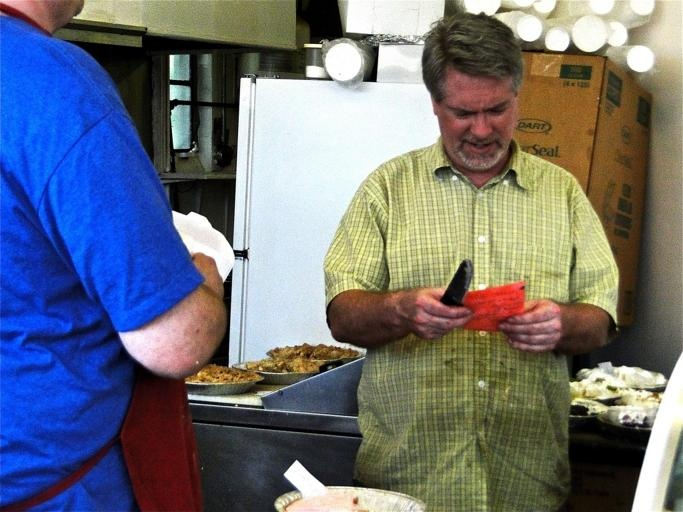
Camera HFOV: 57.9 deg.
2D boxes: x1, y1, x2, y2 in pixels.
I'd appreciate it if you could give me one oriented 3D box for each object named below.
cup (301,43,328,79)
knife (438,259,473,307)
[{"bbox_3d":[-0.107,-0.901,2.904,0.154,0.160,0.153,0,3,0],"label":"cup"},{"bbox_3d":[0.254,0.055,1.348,0.039,0.126,0.095,-5,20,-15],"label":"knife"}]
